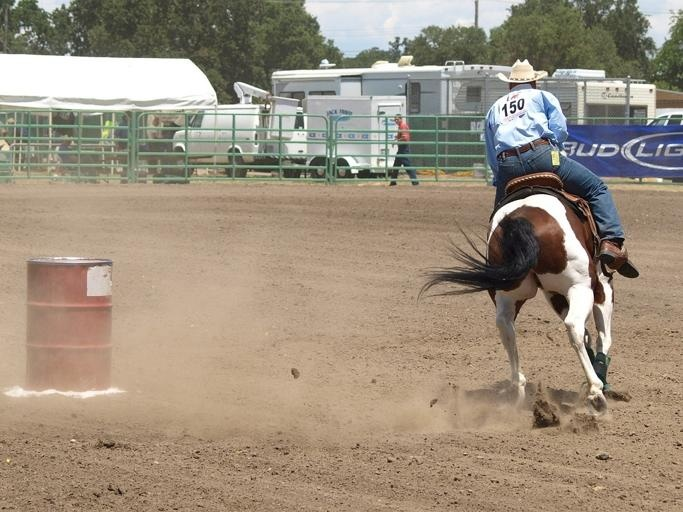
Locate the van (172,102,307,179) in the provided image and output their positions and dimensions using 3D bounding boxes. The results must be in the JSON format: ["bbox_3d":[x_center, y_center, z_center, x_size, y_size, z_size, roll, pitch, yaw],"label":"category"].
[{"bbox_3d":[-2.541,-2.967,30.454,3.224,1.948,4.174,0,5,-2],"label":"van"}]

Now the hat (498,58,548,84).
[{"bbox_3d":[2.173,-2.103,13.910,0.593,0.240,0.646,-1,7,9],"label":"hat"}]

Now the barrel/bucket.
[{"bbox_3d":[-3.013,0.767,12.966,0.931,1.419,0.346,-2,5,-15],"label":"barrel/bucket"}]

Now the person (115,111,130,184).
[{"bbox_3d":[-5.353,-2.706,28.648,0.305,1.289,0.140,0,5,-12],"label":"person"}]
